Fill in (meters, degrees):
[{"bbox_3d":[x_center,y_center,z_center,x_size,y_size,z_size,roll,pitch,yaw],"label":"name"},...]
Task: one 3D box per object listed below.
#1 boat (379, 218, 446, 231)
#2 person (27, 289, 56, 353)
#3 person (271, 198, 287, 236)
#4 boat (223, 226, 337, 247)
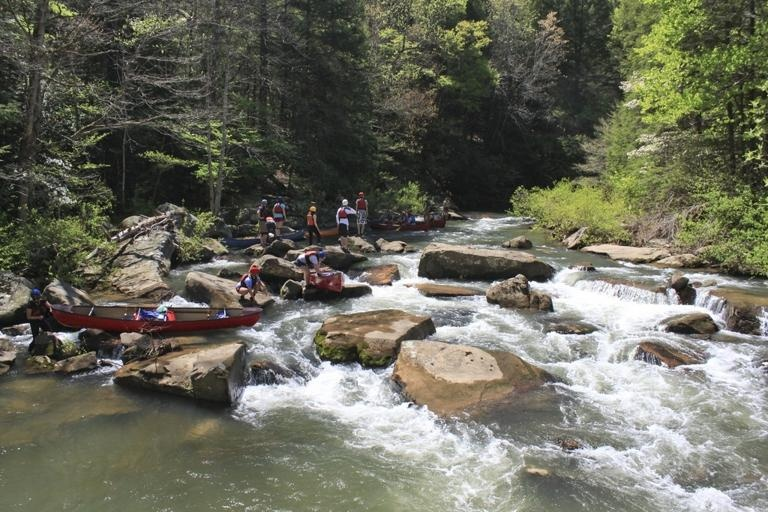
[{"bbox_3d":[1.857,-2.035,42.135,5.013,0.809,1.438,-4,7,-40],"label":"boat"},{"bbox_3d":[-12.004,2.158,22.558,0.739,2.003,1.421,-3,7,-27],"label":"person"},{"bbox_3d":[-5.553,-2.073,34.288,0.577,2.019,1.040,-1,6,-10],"label":"person"},{"bbox_3d":[-5.971,-1.096,35.815,5.625,0.665,1.064,-5,4,-32],"label":"boat"}]
